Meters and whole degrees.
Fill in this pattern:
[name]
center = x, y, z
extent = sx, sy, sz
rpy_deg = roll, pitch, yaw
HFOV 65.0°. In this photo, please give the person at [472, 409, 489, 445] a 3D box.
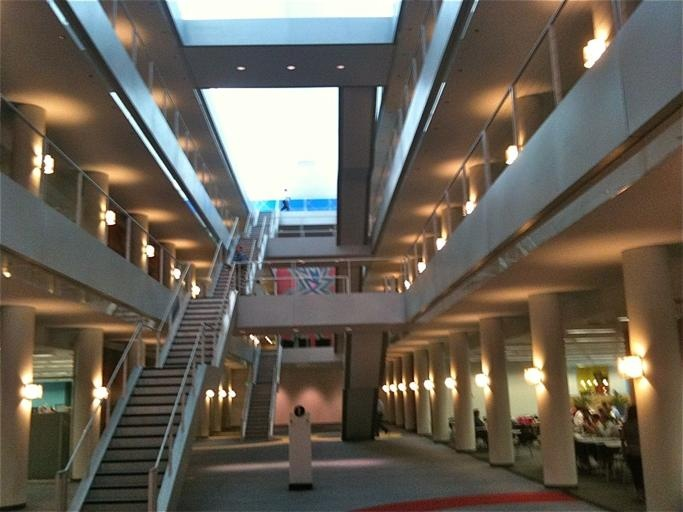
[person]
center = 4.772, 5.828, 18.432
extent = 0.383, 1.241, 2.714
rpy_deg = -3, -20, 13
